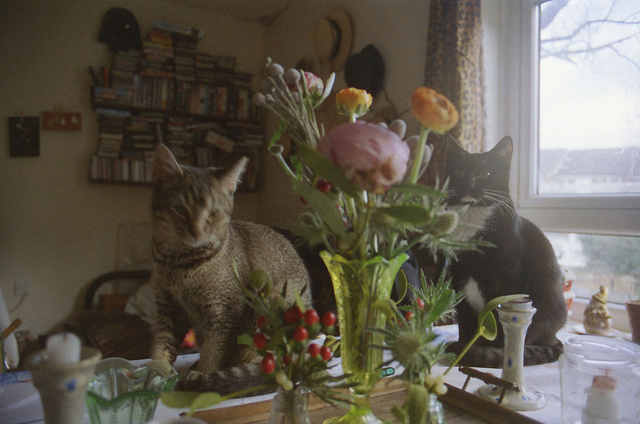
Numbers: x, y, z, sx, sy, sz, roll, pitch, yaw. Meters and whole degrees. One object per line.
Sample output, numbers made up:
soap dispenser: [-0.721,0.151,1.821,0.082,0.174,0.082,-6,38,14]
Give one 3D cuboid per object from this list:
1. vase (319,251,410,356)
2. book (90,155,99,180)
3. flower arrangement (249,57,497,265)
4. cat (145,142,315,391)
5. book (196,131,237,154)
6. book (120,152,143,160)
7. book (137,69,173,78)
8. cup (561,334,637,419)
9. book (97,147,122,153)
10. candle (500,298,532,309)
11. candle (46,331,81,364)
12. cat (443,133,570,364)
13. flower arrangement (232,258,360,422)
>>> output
vase: [0.108,0.286,1.673,0.282,0.427,0.297,2,-7,-8]
book: [-1.453,-0.287,3.332,0.052,0.147,0.033,0,2,-25]
flower arrangement: [0.146,-0.167,1.644,0.700,0.619,0.366,1,2,7]
cat: [-0.361,0.202,2.138,0.507,0.919,0.769,12,13,36]
book: [-0.706,-0.499,3.601,0.159,0.044,0.160,13,10,-38]
book: [-1.232,-0.374,3.397,0.127,0.044,0.022,0,2,-9]
book: [-1.072,-0.917,3.417,0.242,0.034,0.048,3,9,-23]
cup: [0.872,0.500,1.672,0.223,0.264,0.237,0,-3,0]
book: [-1.374,-0.409,3.383,0.133,0.029,0.011,0,2,-18]
candle: [0.656,0.308,1.746,0.071,0.017,0.069,1,-2,-44]
candle: [-0.713,0.379,1.449,0.086,0.086,0.083,3,-4,-22]
cat: [0.829,0.167,2.335,0.684,0.988,0.445,-4,6,-32]
flower arrangement: [-0.066,0.364,1.592,0.263,0.509,0.317,-12,27,-23]
